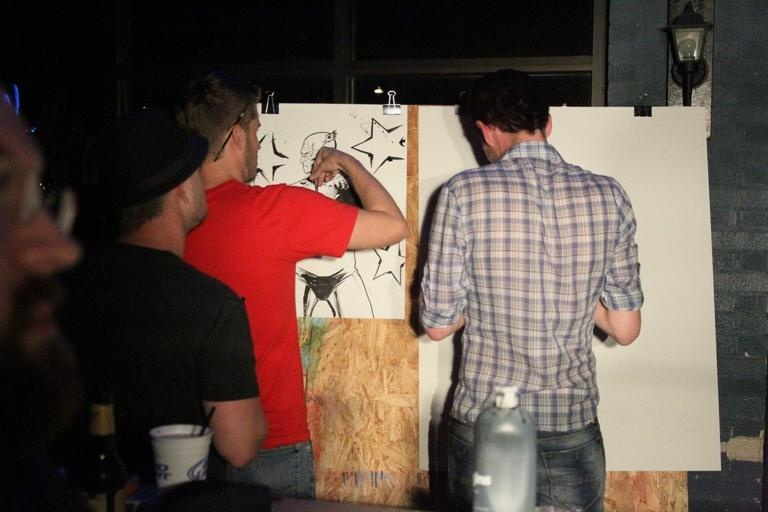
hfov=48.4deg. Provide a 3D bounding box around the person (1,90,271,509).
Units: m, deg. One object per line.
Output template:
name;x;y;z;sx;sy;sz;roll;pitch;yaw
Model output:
person;-0.876;0.148;3.424;0.778;1.425;0.234;-1;6;1

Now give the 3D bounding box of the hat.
hat;-0.899;-0.340;3.448;0.402;0.191;0.392;-38;41;-2

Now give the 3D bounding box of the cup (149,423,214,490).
cup;-0.796;0.814;3.332;0.261;0.293;0.265;2;-7;0
